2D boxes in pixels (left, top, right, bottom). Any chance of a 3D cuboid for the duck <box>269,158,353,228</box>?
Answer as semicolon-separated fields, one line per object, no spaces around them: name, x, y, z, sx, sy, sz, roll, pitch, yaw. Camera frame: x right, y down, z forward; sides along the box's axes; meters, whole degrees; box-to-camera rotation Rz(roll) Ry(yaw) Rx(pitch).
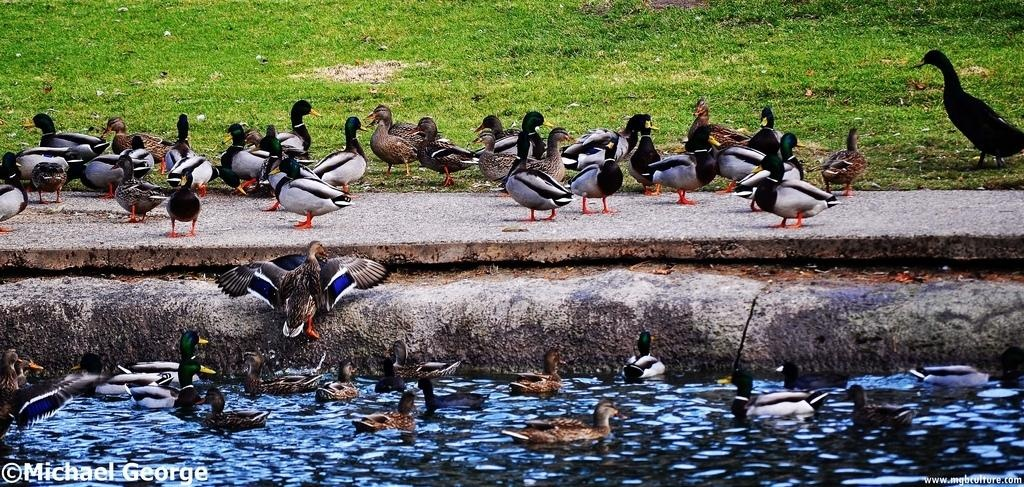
duck;-4.529;-1.075;40.027;1.128;1.429;1.573;-11;14;-37

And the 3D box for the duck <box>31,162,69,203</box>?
duck;-10.702;-1.394;42.036;0.767;0.888;0.702;-4;11;-7

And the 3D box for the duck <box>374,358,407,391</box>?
duck;-2.586;2.700;37.546;0.637;0.559;0.752;-4;10;-6

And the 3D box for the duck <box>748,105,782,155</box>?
duck;5.948;-2.623;42.885;0.889;0.800;1.259;3;28;19

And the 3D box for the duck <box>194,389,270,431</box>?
duck;-5.676;3.354;36.940;1.717;0.783;0.901;-2;12;-40

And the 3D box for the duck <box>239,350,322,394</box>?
duck;-4.863;2.672;37.758;1.977;0.892;0.641;1;12;-36

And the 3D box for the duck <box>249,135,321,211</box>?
duck;-5.352;-1.736;42.920;1.284;1.612;2.230;13;7;29

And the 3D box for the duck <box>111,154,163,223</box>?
duck;-8.165;-1.182;40.634;1.963;1.234;0.925;9;12;36

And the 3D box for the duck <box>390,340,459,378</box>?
duck;-1.969;2.423;37.914;1.791;0.763;0.555;-2;18;-35

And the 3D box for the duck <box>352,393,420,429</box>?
duck;-2.611;3.422;36.553;1.409;0.765;0.743;0;2;-35

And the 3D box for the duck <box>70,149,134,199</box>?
duck;-9.281;-1.585;42.499;1.803;0.942;0.826;-2;-6;16

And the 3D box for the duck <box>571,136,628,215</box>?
duck;1.804;-1.488;40.876;1.150;1.572;0.975;-3;11;1

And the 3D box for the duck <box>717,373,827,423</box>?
duck;5.212;3.098;36.417;2.423;0.797;0.754;3;-9;4

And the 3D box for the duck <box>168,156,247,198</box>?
duck;-7.187;-1.525;41.906;2.071;0.688;0.740;12;21;-22

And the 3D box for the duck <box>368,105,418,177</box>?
duck;-2.923;-2.441;44.112;1.056;1.605;0.996;-4;11;-3

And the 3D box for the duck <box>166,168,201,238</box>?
duck;-7.175;-0.802;39.577;0.702;1.251;0.951;-5;11;-10

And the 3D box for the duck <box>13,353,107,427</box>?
duck;-9.219;3.018;36.297;2.642;0.662;1.027;-22;-6;-29

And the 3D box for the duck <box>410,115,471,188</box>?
duck;-1.804;-2.177;43.900;1.204;1.438;2.109;-6;11;-16

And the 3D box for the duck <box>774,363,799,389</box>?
duck;5.520;2.608;37.054;0.645;0.604;0.231;-7;0;17

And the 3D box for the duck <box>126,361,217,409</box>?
duck;-7.024;2.905;37.518;2.078;1.013;0.708;1;0;30

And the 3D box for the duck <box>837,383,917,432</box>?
duck;7.268;3.197;36.154;1.185;0.764;0.482;-1;11;9

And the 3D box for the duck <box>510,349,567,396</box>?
duck;0.333;2.662;37.367;0.815;0.840;1.427;17;13;41
